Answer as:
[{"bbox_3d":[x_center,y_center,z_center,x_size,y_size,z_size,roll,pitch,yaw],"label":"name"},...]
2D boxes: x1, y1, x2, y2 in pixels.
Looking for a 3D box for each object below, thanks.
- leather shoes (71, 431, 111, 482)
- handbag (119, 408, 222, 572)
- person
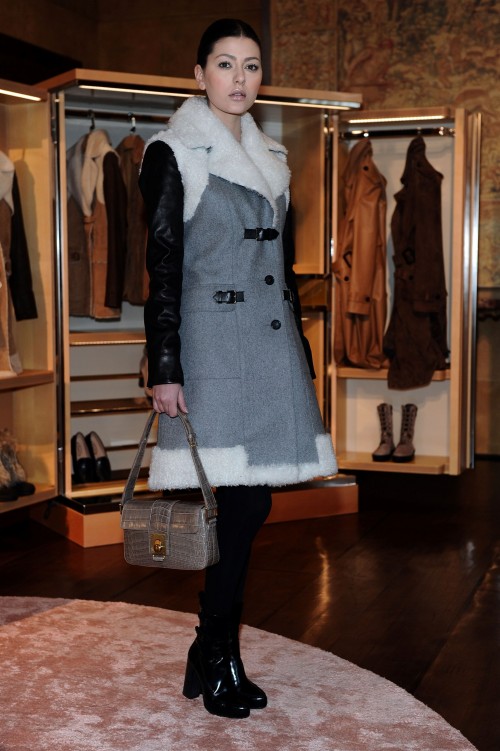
[{"bbox_3d":[-0.798,0.411,3.186,0.147,0.276,0.077,3,-36,-38],"label":"leather shoes"},{"bbox_3d":[-0.146,0.196,1.119,0.163,0.273,0.069,1,4,8],"label":"handbag"},{"bbox_3d":[-0.030,0.017,1.197,0.406,1.278,0.250,4,-5,-44],"label":"person"}]
